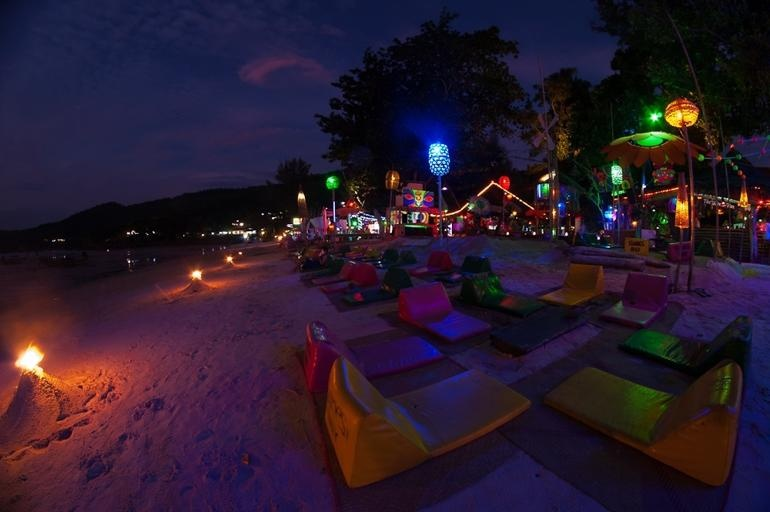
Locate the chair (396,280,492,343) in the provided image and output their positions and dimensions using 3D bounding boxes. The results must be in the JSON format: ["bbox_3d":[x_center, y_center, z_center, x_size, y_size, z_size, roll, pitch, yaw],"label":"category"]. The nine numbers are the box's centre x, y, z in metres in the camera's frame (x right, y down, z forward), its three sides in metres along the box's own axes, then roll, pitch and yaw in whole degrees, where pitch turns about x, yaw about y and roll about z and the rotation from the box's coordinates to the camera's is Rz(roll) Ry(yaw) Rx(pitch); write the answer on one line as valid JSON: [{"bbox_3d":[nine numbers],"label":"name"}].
[{"bbox_3d":[1.589,1.773,12.945,1.414,0.909,2.203,-9,15,-28],"label":"chair"}]

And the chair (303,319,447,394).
[{"bbox_3d":[-0.259,2.327,11.983,3.739,1.427,2.431,-6,8,-17],"label":"chair"}]

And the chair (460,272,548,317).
[{"bbox_3d":[3.645,1.256,13.794,1.280,0.819,2.014,-12,17,-39],"label":"chair"}]

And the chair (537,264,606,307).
[{"bbox_3d":[6.055,0.832,14.112,2.013,1.072,1.185,-11,11,-39],"label":"chair"}]

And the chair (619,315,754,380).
[{"bbox_3d":[7.811,2.135,11.503,1.867,1.204,2.667,-14,17,-40],"label":"chair"}]

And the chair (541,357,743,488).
[{"bbox_3d":[6.204,3.226,10.684,2.416,2.204,3.834,-14,22,-38],"label":"chair"}]

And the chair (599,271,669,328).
[{"bbox_3d":[7.527,1.413,13.015,2.196,1.085,1.207,-20,17,-41],"label":"chair"}]
